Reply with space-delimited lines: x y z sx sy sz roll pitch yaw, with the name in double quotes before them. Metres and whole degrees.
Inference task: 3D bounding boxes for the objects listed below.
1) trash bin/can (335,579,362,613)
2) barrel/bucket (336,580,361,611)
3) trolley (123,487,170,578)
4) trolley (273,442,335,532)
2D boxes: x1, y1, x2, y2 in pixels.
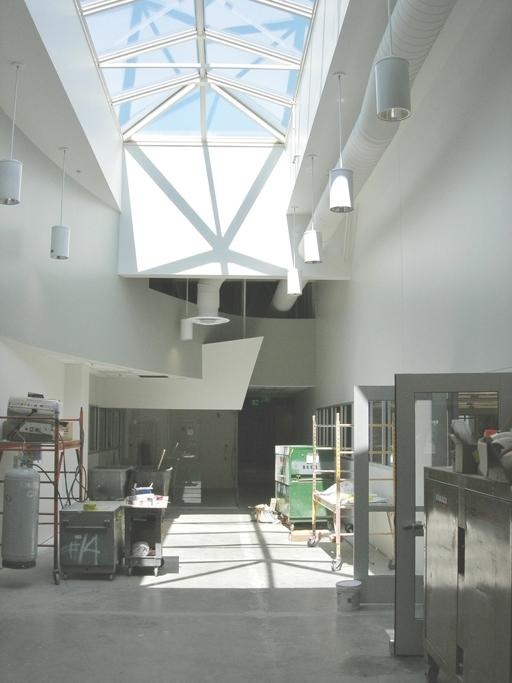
"trash bin/can" 0.886 2.467 5.883 0.201 0.244 0.229 1 2 -9
"barrel/bucket" 0.921 2.484 5.885 0.188 0.251 0.329 -6 -10 34
"trolley" -1.477 2.535 7.915 0.654 1.408 0.805 0 -10 -2
"trolley" 0.839 2.849 11.872 0.700 1.583 1.485 3 -7 -11
